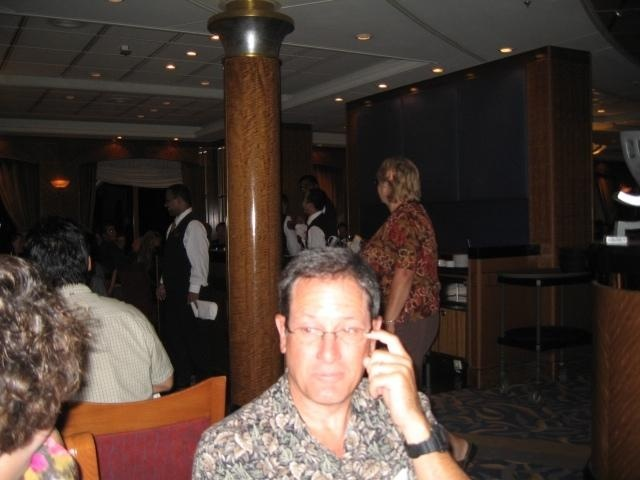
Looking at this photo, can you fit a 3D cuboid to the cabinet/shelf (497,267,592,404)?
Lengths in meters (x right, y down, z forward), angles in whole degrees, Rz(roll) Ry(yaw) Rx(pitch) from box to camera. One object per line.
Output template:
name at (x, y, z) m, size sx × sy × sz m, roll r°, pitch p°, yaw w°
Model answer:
cabinet/shelf at (2.062, 0.849, 4.856) m, size 1.031 × 1.183 × 0.869 m, roll -4°, pitch 4°, yaw -34°

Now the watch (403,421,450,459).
watch at (0.267, 0.517, 1.322) m, size 0.095 × 0.072 × 0.104 m, roll -14°, pitch 3°, yaw 4°
